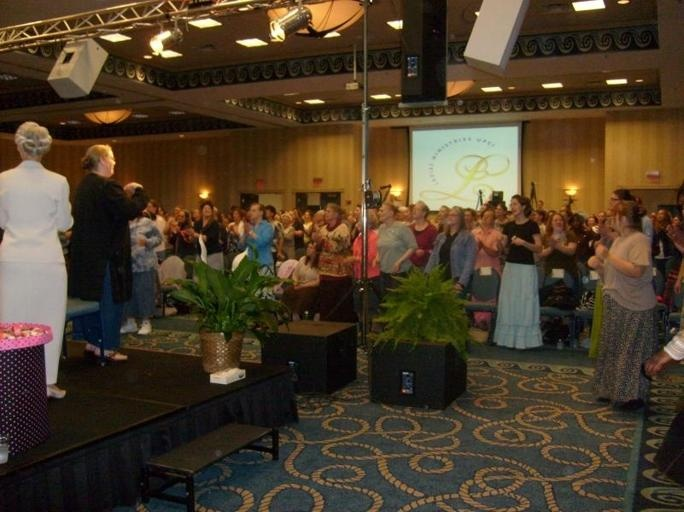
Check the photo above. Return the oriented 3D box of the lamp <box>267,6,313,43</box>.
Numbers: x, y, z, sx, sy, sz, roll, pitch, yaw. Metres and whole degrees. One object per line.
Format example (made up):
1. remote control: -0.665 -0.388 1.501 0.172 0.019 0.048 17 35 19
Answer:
1. lamp: -0.582 -2.686 6.066 0.517 0.481 0.309 -2 5 -22

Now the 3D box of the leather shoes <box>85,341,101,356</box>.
1. leather shoes: -2.152 0.792 4.597 0.128 0.084 0.223 4 -5 -39

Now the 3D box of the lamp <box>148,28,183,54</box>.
1. lamp: -2.100 -2.573 6.330 0.318 0.319 0.293 -1 5 -14

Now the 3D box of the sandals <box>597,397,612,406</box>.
1. sandals: 2.321 1.298 4.747 0.118 0.046 0.146 1 0 19

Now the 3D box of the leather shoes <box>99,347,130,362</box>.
1. leather shoes: -1.940 0.840 4.503 0.244 0.086 0.106 0 0 -5

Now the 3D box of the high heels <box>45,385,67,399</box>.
1. high heels: -1.918 0.912 3.565 0.064 0.044 0.121 4 1 24

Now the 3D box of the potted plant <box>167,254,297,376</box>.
1. potted plant: -0.747 0.424 4.157 0.911 0.729 0.896 1 -5 27

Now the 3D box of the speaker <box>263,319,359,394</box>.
1. speaker: -0.269 0.907 5.126 0.783 0.520 0.793 0 -1 23

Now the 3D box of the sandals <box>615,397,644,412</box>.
1. sandals: 2.462 1.289 4.593 0.175 0.063 0.176 -12 -10 36
